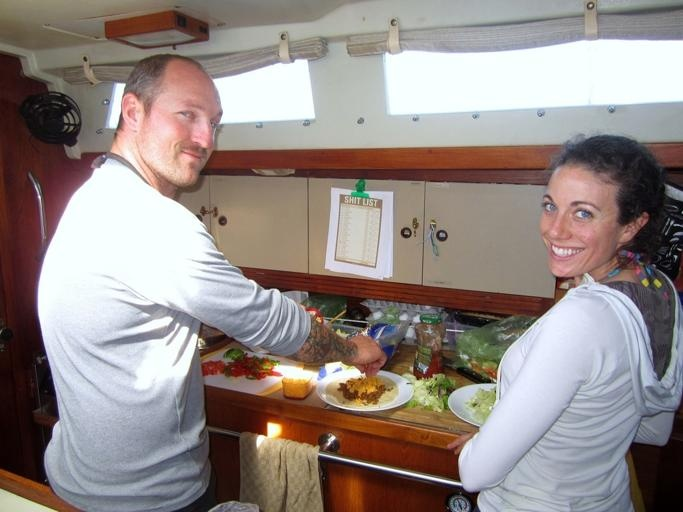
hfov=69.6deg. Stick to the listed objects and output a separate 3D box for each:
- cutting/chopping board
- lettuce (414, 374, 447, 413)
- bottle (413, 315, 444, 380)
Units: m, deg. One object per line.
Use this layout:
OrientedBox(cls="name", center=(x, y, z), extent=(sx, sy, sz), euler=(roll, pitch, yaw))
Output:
OrientedBox(cls="cutting/chopping board", center=(-0.443, 0.572, 2.399), extent=(0.304, 0.017, 0.329), euler=(10, 16, 16))
OrientedBox(cls="lettuce", center=(0.431, 0.633, 2.331), extent=(0.137, 0.060, 0.140), euler=(6, 34, 28))
OrientedBox(cls="bottle", center=(0.444, 0.471, 2.481), extent=(0.141, 0.281, 0.102), euler=(1, 5, 8))
